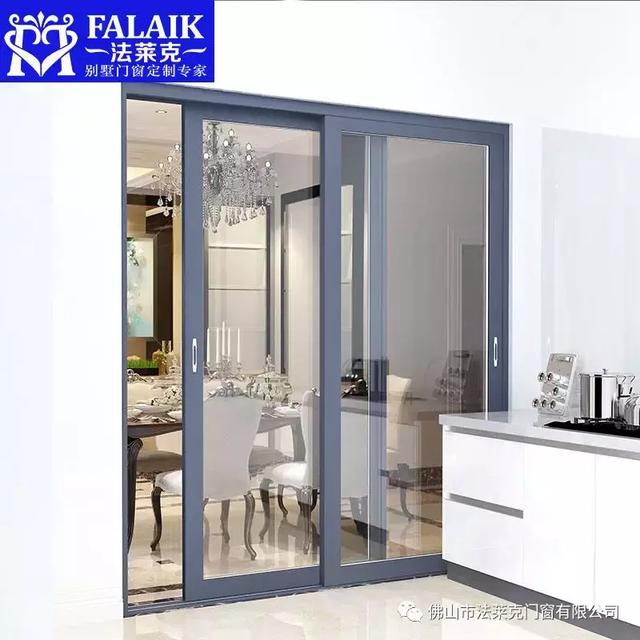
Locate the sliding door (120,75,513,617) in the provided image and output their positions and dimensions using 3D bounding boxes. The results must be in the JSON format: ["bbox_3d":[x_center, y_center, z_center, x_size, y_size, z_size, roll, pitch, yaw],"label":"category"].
[{"bbox_3d":[0.098,0.147,3.089,1.742,2.817,0.218,1,-1,-17],"label":"sliding door"}]

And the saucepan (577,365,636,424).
[{"bbox_3d":[1.307,0.361,2.780,0.258,0.295,0.180,1,-1,-11],"label":"saucepan"}]

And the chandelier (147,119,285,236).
[{"bbox_3d":[-0.466,-0.685,2.996,0.402,0.477,0.451,7,13,32],"label":"chandelier"}]

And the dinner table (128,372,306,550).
[{"bbox_3d":[-0.844,0.964,4.032,1.294,1.134,0.922,1,-1,-21],"label":"dinner table"}]
